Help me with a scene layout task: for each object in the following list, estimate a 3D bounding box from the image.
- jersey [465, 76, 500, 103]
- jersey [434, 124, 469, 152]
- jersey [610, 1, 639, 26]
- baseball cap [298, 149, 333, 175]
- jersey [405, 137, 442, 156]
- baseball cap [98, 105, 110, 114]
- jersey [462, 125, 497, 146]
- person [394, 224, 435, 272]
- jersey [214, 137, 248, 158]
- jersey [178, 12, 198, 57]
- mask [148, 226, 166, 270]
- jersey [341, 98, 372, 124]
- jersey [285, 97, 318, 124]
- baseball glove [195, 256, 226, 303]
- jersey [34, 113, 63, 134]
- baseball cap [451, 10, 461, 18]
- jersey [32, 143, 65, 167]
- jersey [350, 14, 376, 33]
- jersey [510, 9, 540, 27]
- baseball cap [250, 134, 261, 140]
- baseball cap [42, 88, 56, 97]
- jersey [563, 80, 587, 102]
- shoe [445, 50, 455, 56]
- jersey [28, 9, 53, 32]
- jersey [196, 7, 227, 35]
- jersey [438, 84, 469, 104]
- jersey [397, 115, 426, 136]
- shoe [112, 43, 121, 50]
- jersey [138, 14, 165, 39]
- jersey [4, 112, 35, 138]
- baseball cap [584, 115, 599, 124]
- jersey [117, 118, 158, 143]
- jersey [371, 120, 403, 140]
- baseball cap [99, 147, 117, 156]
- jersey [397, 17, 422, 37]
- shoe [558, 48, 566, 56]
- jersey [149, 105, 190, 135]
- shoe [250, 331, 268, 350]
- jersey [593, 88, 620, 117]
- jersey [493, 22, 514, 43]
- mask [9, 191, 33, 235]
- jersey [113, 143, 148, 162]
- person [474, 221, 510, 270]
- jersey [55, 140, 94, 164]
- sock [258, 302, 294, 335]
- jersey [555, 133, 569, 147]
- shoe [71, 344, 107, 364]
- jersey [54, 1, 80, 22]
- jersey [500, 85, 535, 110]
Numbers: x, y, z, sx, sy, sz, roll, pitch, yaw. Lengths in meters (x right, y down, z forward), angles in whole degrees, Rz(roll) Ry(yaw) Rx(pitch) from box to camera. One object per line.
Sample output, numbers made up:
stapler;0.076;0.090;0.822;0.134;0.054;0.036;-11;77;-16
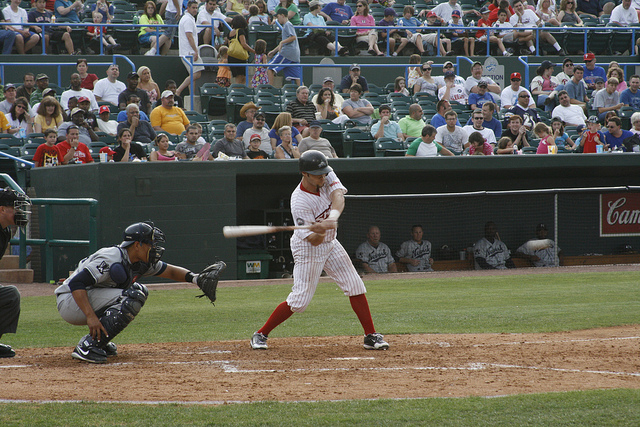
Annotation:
jersey;3.866;-2.952;31.153;0.786;0.650;0.426;16;-39;-20
jersey;2.901;-1.624;28.805;0.836;0.667;0.435;-2;13;-16
jersey;8.255;-5.362;35.119;0.798;0.647;0.354;-2;1;-10
baseball cap;-0.079;-0.851;21.651;0.474;0.272;0.366;-2;15;14
jersey;2.253;-1.574;28.160;0.690;0.510;0.360;0;0;-16
baseball cap;-4.725;-2.273;28.490;0.172;0.141;0.244;-1;9;-22
jersey;3.605;-1.822;28.862;0.707;0.370;0.461;3;-25;-4
person;2.115;0.781;28.897;0.956;1.021;0.543;-2;1;-14
jersey;-1.917;-1.391;27.658;0.672;0.538;0.365;-1;0;-20
jersey;-3.151;-4.264;31.202;0.449;1.082;0.851;-5;23;-16
mask;-2.727;0.574;21.628;0.479;0.555;0.401;10;4;-9
jersey;0.826;-2.297;29.408;0.537;0.499;0.297;-4;-13;-20
jersey;-0.420;-2.261;28.771;0.670;0.586;0.558;-2;1;-1
baseball glove;-1.841;1.131;21.963;0.501;0.518;0.311;-2;1;-20
jersey;-5.822;-1.948;27.935;0.597;0.338;0.308;-2;1;-12
baseball cap;3.602;-5.267;34.387;0.265;0.200;0.083;-2;1;-31
jersey;-5.637;-1.206;27.129;0.475;0.425;0.169;4;11;-3
jersey;1.095;-4.871;33.317;0.672;0.448;0.509;-2;1;-11
jersey;5.384;-5.115;34.290;0.703;0.423;0.524;-2;1;9
baseball cap;-1.369;-1.633;27.747;0.156;0.115;0.253;3;-16;-11
baseball cap;-5.931;-2.613;28.192;0.163;0.114;0.229;-22;1;-40
jersey;6.109;-2.896;31.257;0.736;0.611;0.407;-3;3;-30
shoe;3.395;-4.180;33.988;0.240;0.085;0.166;-11;17;-43
jersey;-6.720;-4.662;31.534;0.239;0.416;0.706;-1;1;40
jersey;-2.708;-4.760;32.235;0.730;0.466;0.403;-2;1;-19
jersey;3.229;-2.858;31.208;0.764;0.459;0.299;-2;1;-14
jersey;2.060;-1.907;29.326;0.759;0.553;0.395;1;-7;-17
shoe;-5.036;-4.130;32.239;0.177;0.083;0.251;17;-11;-30
jersey;-4.202;-4.701;32.525;0.717;0.433;0.515;-2;1;-29
jersey;-6.481;-1.905;28.039;0.616;0.430;0.344;-2;1;-1
baseball cap;6.086;-2.082;29.017;0.285;0.148;0.172;14;2;-7
jersey;-3.888;-1.762;27.910;0.990;0.363;0.393;-2;1;-44
jersey;1.497;-1.861;29.034;0.699;0.419;0.396;-2;1;2
baseball cap;-4.445;-1.304;27.309;0.285;0.150;0.187;1;-1;-4
jersey;2.365;-4.846;33.861;0.727;0.539;0.531;-2;1;-17
shoe;6.382;-4.251;34.296;0.191;0.246;0.459;-2;1;11
jersey;-3.265;-2.010;28.583;0.838;0.750;0.482;-5;0;-31
shoe;-1.032;2.150;22.049;0.286;0.205;0.242;-2;1;-3
jersey;6.750;-2.640;30.793;0.733;0.737;0.388;-7;18;-22
jersey;4.763;-4.696;33.864;0.498;0.521;0.271;7;3;-34
mask;-5.133;-0.057;21.794;0.601;0.603;0.446;1;1;-11
jersey;-3.987;-1.271;27.289;0.317;0.306;0.172;-23;-2;-36
person;3.890;0.790;29.131;0.885;1.296;0.796;-5;-1;-7
jersey;-5.136;-1.144;27.320;0.764;0.588;0.423;-2;2;-19
sock;-0.717;1.763;21.948;0.836;0.247;0.219;-42;20;9
jersey;5.450;-1.635;29.510;0.387;0.406;0.226;-4;3;7
shoe;-3.817;2.331;21.550;0.651;0.300;0.226;4;1;8
jersey;-6.307;-5.057;32.500;0.624;0.396;0.370;-2;1;-28
jersey;4.673;-2.780;31.123;0.832;0.943;0.507;0;-5;0
